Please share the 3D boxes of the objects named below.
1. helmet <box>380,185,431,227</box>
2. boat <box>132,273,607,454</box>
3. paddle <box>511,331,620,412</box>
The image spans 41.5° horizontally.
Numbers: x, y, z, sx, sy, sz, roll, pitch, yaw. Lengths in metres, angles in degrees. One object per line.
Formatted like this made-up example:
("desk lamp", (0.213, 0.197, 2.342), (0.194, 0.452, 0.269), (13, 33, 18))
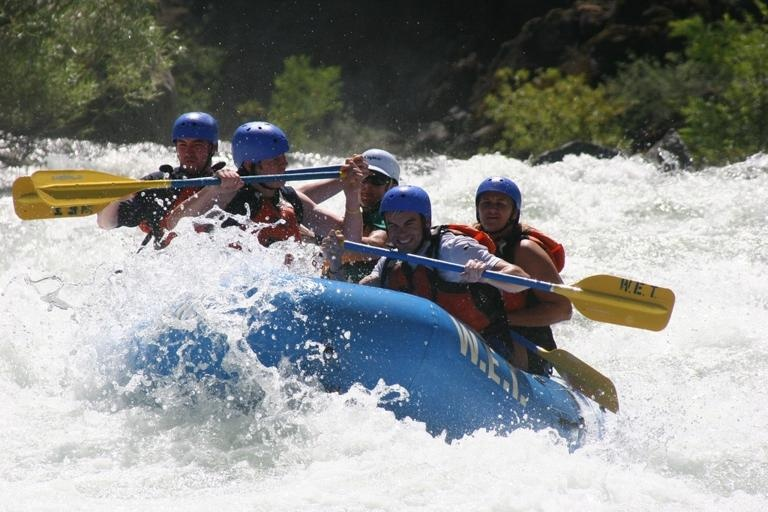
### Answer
("helmet", (0.286, -0.680, 13.834), (0.625, 0.471, 0.459), (-7, -3, 1))
("boat", (-0.021, 1.383, 13.016), (4.692, 0.927, 2.555), (26, -15, -24))
("paddle", (2.475, 1.654, 14.025), (1.514, 0.259, 0.156), (39, 20, 11))
